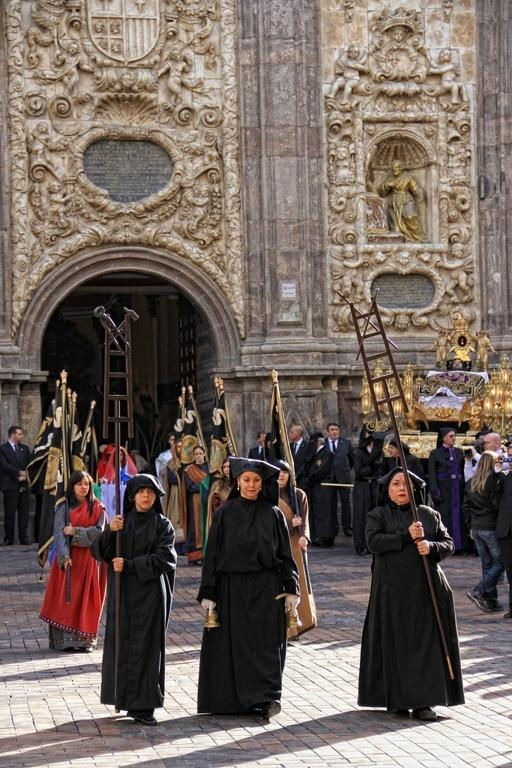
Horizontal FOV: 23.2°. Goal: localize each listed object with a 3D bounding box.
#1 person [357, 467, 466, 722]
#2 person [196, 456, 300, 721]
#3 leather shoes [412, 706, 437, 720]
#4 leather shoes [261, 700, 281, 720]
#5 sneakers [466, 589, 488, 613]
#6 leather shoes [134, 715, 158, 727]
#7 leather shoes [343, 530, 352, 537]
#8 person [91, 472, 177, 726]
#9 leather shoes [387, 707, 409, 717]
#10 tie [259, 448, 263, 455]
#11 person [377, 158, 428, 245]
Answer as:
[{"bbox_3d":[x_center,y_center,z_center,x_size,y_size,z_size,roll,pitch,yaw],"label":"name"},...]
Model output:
[{"bbox_3d":[0.956,1.278,7.752,0.651,1.342,0.528,-3,-1,24],"label":"person"},{"bbox_3d":[-0.058,1.245,7.704,0.473,1.297,0.530,-3,-1,34],"label":"person"},{"bbox_3d":[1.016,1.978,7.521,0.153,0.074,0.117,-2,-1,6],"label":"leather shoes"},{"bbox_3d":[0.090,1.959,7.515,0.069,0.150,0.065,13,27,-25],"label":"leather shoes"},{"bbox_3d":[2.178,2.130,12.142,0.130,0.285,0.096,-36,23,7],"label":"sneakers"},{"bbox_3d":[-0.655,2.013,7.464,0.161,0.059,0.052,0,-10,7],"label":"leather shoes"},{"bbox_3d":[1.432,2.320,19.395,0.114,0.091,0.090,1,1,36],"label":"leather shoes"},{"bbox_3d":[-0.736,1.308,7.662,0.492,1.181,0.540,-2,-1,-8],"label":"person"},{"bbox_3d":[0.871,2.003,7.649,0.139,0.042,0.160,-2,-1,6],"label":"leather shoes"},{"bbox_3d":[0.077,1.039,18.936,0.022,0.074,0.073,6,1,-29],"label":"tie"},{"bbox_3d":[2.623,-3.295,22.659,0.793,1.302,0.353,-2,-1,8],"label":"person"}]
